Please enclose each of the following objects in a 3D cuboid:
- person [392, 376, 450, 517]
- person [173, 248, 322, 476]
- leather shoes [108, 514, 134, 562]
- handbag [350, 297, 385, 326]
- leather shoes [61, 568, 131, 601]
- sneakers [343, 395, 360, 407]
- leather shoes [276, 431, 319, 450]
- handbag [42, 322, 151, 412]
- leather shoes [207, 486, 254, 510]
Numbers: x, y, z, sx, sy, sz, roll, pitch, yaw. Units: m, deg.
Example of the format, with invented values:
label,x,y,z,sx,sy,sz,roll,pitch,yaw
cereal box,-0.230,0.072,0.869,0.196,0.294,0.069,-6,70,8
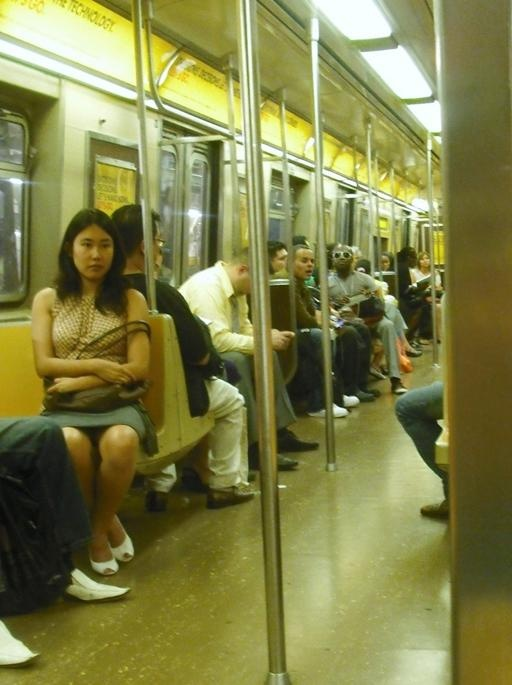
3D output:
label,x,y,z,sx,sy,sz,roll,pitch,yaw
person,0.772,0.517,2.859,0.230,0.698,0.661,-1,2,16
person,0.164,0.016,4.819,1.507,2.114,0.838,-1,1,0
leather shoes,-0.572,0.853,2.606,0.089,0.044,0.317,-25,16,-18
handbag,1.355,-0.393,7.569,0.379,0.355,0.283,-17,12,36
leather shoes,-0.579,0.868,2.196,0.286,0.115,0.092,-6,-11,21
sneakers,0.958,0.603,6.184,0.081,0.100,0.234,-4,-11,-7
leather shoes,0.308,0.720,4.453,0.336,0.132,0.112,0,1,1
handbag,-0.623,0.155,2.588,0.306,0.431,0.186,27,-3,38
leather shoes,-0.136,0.830,3.300,0.266,0.107,0.087,-3,6,-35
